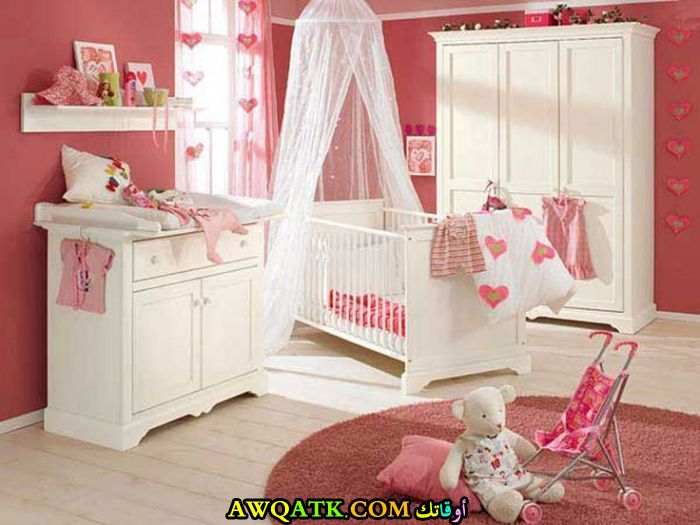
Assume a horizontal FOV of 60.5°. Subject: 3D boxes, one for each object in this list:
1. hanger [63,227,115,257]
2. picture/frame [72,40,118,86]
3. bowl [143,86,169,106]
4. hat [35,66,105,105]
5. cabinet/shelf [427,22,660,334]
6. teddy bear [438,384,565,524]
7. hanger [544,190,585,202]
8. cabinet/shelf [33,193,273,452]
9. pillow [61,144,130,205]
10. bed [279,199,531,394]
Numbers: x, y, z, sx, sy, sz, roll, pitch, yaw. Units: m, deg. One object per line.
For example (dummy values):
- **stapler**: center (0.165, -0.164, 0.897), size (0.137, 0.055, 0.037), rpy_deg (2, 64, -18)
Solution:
- **hanger**: center (-1.262, -0.101, 2.877), size (0.333, 0.133, 0.050), rpy_deg (6, 12, 36)
- **picture/frame**: center (-1.408, -1.076, 3.258), size (0.025, 0.280, 0.340), rpy_deg (-6, 0, 29)
- **bowl**: center (-1.132, -0.953, 3.469), size (0.136, 0.111, 0.116), rpy_deg (-4, 11, -19)
- **hat**: center (-1.448, -0.896, 3.095), size (0.204, 0.103, 0.268), rpy_deg (11, 17, 30)
- **cabinet/shelf**: center (1.338, -0.744, 6.018), size (0.882, 2.961, 2.280), rpy_deg (-13, 10, 10)
- **teddy bear**: center (0.597, 0.730, 2.311), size (0.469, 0.464, 0.327), rpy_deg (2, 10, 15)
- **hanger**: center (1.657, -0.516, 4.650), size (0.298, 0.100, 0.037), rpy_deg (4, 11, 24)
- **cabinet/shelf**: center (-1.043, 0.286, 3.352), size (0.683, 1.169, 1.227), rpy_deg (8, 12, 30)
- **pillow**: center (-1.316, -0.499, 3.132), size (0.094, 0.312, 0.320), rpy_deg (-36, -29, 29)
- **bed**: center (0.311, 0.109, 4.136), size (0.983, 0.891, 1.494), rpy_deg (-6, 13, -32)
